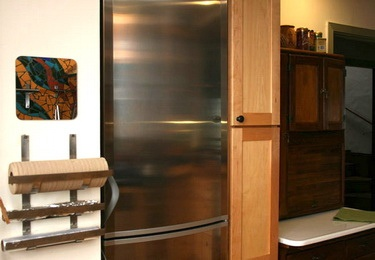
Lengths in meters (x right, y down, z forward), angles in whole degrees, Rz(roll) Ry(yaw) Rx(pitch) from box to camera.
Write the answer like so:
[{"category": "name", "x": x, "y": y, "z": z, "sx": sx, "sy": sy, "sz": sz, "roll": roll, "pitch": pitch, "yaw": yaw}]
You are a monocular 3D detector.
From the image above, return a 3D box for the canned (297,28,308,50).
[{"category": "canned", "x": 0.977, "y": -0.770, "z": 2.834, "sx": 0.120, "sy": 0.192, "sz": 0.075, "roll": -3, "pitch": 3, "yaw": 8}]

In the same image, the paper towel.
[{"category": "paper towel", "x": -0.555, "y": 0.191, "z": 1.438, "sx": 0.380, "sy": 0.145, "sz": 0.139, "roll": -4, "pitch": 19, "yaw": -33}]
